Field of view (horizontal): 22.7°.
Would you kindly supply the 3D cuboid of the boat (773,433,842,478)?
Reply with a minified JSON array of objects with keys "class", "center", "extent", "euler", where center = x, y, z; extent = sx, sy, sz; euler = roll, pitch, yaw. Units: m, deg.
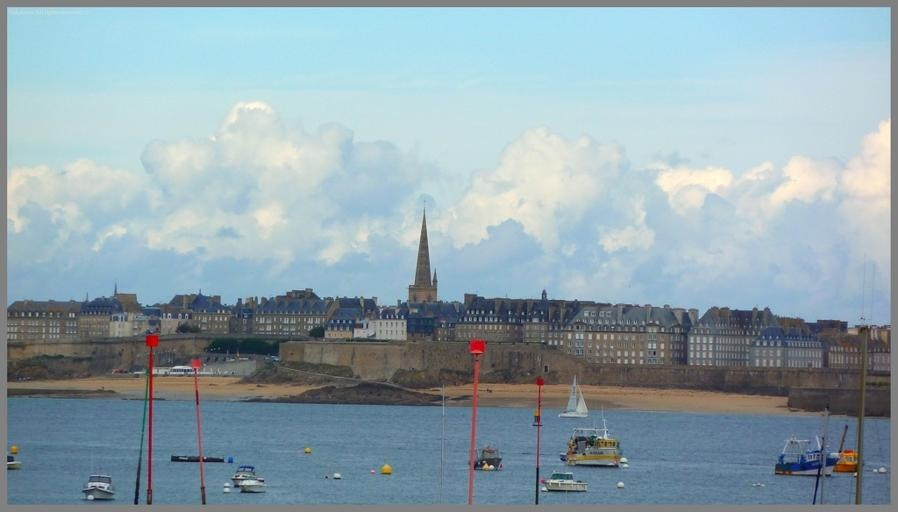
[{"class":"boat","center":[12.919,7.457,81.809],"extent":[2.901,1.527,1.196],"euler":[1,-2,21]}]

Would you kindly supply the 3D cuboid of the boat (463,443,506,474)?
[{"class":"boat","center":[1.501,7.596,83.140],"extent":[1.260,0.750,1.646],"euler":[2,7,3]}]

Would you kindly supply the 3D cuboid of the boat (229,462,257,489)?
[{"class":"boat","center":[-7.322,7.924,80.259],"extent":[0.432,0.565,1.524],"euler":[2,8,10]}]

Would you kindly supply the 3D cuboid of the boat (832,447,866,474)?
[{"class":"boat","center":[14.523,7.426,81.105],"extent":[0.764,0.619,1.651],"euler":[3,7,23]}]

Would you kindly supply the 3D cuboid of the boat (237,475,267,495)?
[{"class":"boat","center":[-7.053,8.192,79.769],"extent":[0.517,0.269,0.941],"euler":[-1,5,-39]}]

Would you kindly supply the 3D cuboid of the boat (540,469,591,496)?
[{"class":"boat","center":[4.081,8.130,79.567],"extent":[1.275,0.527,0.811],"euler":[-1,2,-2]}]

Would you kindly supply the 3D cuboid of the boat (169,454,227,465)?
[{"class":"boat","center":[-9.326,7.623,83.619],"extent":[2.215,0.298,1.171],"euler":[1,-6,-7]}]

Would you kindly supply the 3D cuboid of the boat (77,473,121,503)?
[{"class":"boat","center":[-12.329,8.180,78.825],"extent":[1.133,0.918,1.213],"euler":[1,-6,-9]}]
